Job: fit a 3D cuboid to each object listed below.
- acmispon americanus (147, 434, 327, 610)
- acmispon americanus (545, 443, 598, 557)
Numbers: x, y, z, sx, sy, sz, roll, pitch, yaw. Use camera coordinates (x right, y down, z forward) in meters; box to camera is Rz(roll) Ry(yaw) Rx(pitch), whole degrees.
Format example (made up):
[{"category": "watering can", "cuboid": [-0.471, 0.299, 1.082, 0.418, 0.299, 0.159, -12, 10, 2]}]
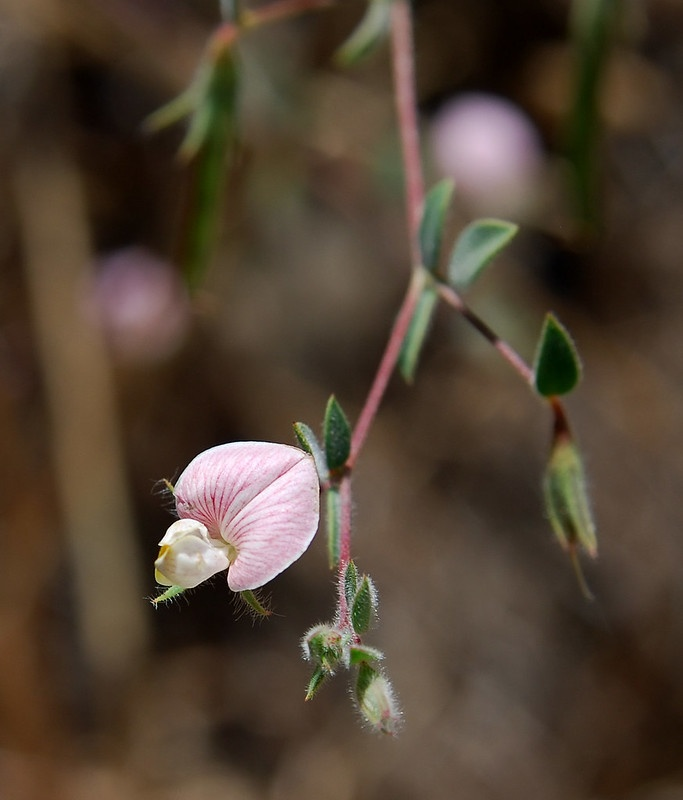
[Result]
[{"category": "acmispon americanus", "cuboid": [-0.089, 0.100, 0.838, 0.142, 0.067, 0.132, -5, 78, -1]}, {"category": "acmispon americanus", "cuboid": [0.195, 0.084, 0.830, 0.031, 0.036, 0.121, 1, 78, -25]}]
